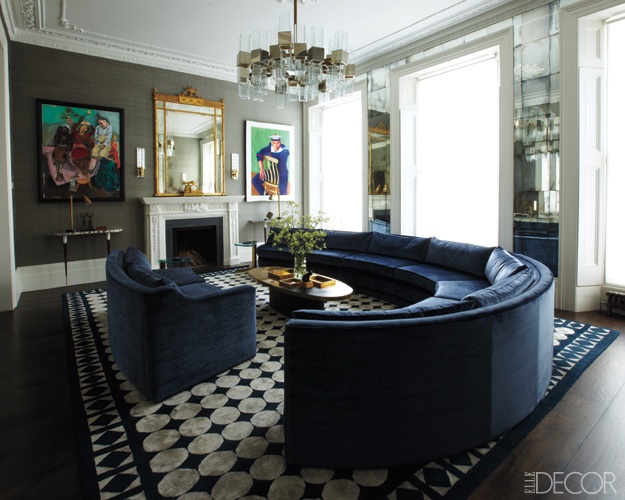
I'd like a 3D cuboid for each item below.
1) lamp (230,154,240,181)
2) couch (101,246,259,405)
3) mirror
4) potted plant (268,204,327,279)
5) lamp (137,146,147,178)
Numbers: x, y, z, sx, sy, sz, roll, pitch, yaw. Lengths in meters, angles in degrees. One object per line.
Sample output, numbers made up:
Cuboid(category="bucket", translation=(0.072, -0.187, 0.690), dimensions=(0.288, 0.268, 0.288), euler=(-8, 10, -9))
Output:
Cuboid(category="lamp", translation=(-1.418, -1.539, 8.239), dimensions=(0.070, 0.477, 0.224), euler=(4, 11, 36))
Cuboid(category="couch", translation=(-1.445, 0.489, 4.425), dimensions=(1.076, 0.835, 2.149), euler=(-8, 13, -32))
Cuboid(category="mirror", translation=(-2.109, -1.822, 7.609), dimensions=(1.340, 1.789, 0.206), euler=(-11, 12, -44))
Cuboid(category="potted plant", translation=(-0.215, -0.023, 5.318), dimensions=(0.522, 0.681, 0.556), euler=(3, 19, 19))
Cuboid(category="lamp", translation=(-2.737, -1.400, 7.148), dimensions=(0.071, 0.482, 0.200), euler=(6, 12, 44))
